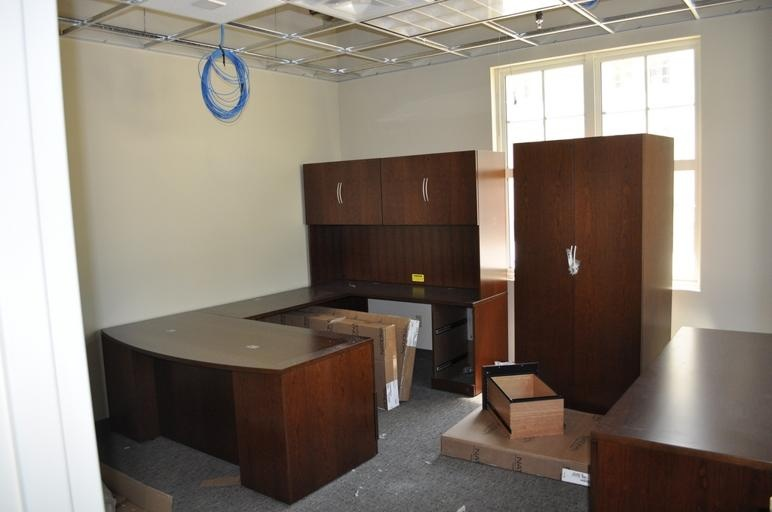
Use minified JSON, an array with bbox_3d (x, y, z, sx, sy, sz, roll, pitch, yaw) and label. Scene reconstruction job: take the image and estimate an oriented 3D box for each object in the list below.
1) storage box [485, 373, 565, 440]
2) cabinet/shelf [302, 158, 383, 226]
[{"bbox_3d":[1.048,1.113,4.350,0.455,0.296,0.473,0,5,-5],"label":"storage box"},{"bbox_3d":[-0.463,-0.708,6.287,0.765,0.537,0.298,2,4,25],"label":"cabinet/shelf"}]
